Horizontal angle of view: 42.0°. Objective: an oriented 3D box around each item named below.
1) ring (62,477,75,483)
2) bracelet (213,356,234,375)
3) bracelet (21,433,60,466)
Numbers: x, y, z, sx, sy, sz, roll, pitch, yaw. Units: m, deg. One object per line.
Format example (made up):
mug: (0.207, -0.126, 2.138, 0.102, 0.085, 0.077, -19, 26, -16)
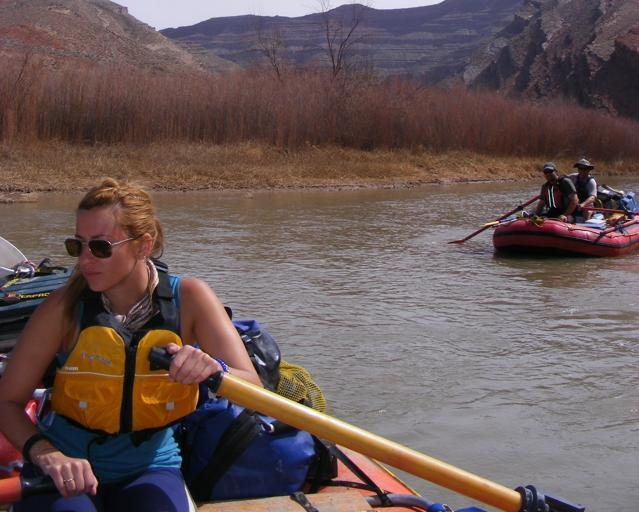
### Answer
ring: (-1.107, 0.988, 3.663, 0.045, 0.017, 0.011, 0, 4, -13)
bracelet: (-0.460, 0.528, 3.980, 0.093, 0.079, 0.098, 18, -19, 1)
bracelet: (-1.258, 0.888, 3.779, 0.106, 0.139, 0.202, -2, 4, -40)
